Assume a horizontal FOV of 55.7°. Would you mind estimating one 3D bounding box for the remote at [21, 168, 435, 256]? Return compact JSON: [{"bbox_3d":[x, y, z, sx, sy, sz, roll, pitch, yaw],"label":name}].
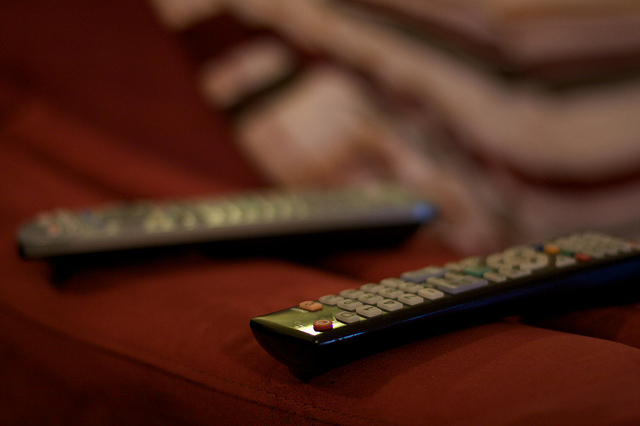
[{"bbox_3d":[-0.075,0.003,0.589,0.374,0.029,0.117,-1,30,-18],"label":"remote"}]
